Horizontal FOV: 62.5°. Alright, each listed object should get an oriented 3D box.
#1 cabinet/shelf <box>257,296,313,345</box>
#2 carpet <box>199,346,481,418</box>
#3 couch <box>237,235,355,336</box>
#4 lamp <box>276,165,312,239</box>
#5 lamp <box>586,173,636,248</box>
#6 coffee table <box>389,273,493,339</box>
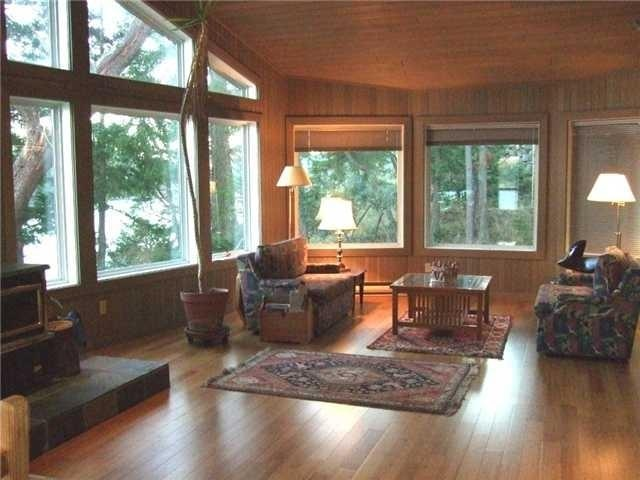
[{"bbox_3d":[-0.355,0.793,5.325,0.462,0.354,0.453,0,0,10],"label":"cabinet/shelf"},{"bbox_3d":[0.240,1.130,4.402,2.003,0.035,1.071,2,8,16],"label":"carpet"},{"bbox_3d":[-0.170,0.485,6.035,0.957,0.948,1.447,3,8,25],"label":"couch"},{"bbox_3d":[-0.344,-0.441,6.855,0.463,1.020,0.439,-5,12,-25],"label":"lamp"},{"bbox_3d":[3.585,-0.344,6.503,0.483,0.962,0.832,4,10,29],"label":"lamp"},{"bbox_3d":[1.329,0.734,5.711,1.033,0.531,1.019,0,1,14],"label":"coffee table"}]
